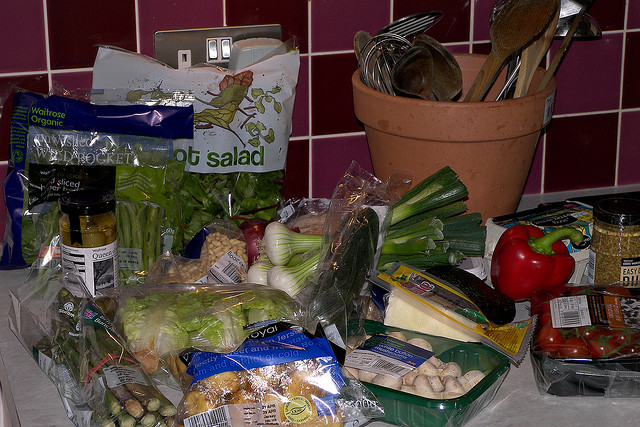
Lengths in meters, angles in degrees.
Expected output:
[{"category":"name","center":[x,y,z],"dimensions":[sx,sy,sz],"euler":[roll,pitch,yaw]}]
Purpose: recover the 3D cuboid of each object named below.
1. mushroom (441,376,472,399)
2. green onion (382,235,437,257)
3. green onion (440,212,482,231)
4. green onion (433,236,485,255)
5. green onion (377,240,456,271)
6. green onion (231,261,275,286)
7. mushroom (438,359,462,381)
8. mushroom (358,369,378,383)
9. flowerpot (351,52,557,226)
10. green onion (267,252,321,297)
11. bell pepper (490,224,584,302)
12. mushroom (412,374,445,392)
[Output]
[{"category":"mushroom","center":[0.234,0.296,0.868],"dimensions":[0.029,0.017,0.035],"euler":[-17,30,-29]},{"category":"green onion","center":[0.199,0.075,1.120],"dimensions":[0.108,0.050,0.035],"euler":[0,18,18]},{"category":"green onion","center":[0.319,0.019,1.134],"dimensions":[0.121,0.036,0.033],"euler":[-8,-14,-5]},{"category":"green onion","center":[0.314,0.065,1.160],"dimensions":[0.131,0.047,0.042],"euler":[1,20,-3]},{"category":"green onion","center":[0.203,0.077,1.109],"dimensions":[0.161,0.071,0.058],"euler":[0,-6,-18]},{"category":"green onion","center":[-0.133,0.125,1.052],"dimensions":[0.076,0.060,0.058],"euler":[1,-19,1]},{"category":"mushroom","center":[0.234,0.282,0.905],"dimensions":[0.030,0.015,0.024],"euler":[0,13,24]},{"category":"mushroom","center":[0.082,0.286,0.887],"dimensions":[0.020,0.021,0.021],"euler":[1,10,1]},{"category":"flowerpot","center":[0.309,-0.188,1.202],"dimensions":[0.379,0.313,0.395],"euler":[12,23,33]},{"category":"green onion","center":[-0.052,0.124,1.030],"dimensions":[0.107,0.078,0.048],"euler":[0,10,-6]},{"category":"bell pepper","center":[0.479,0.110,1.210],"dimensions":[0.158,0.179,0.203],"euler":[-5,21,-17]},{"category":"mushroom","center":[0.190,0.294,0.872],"dimensions":[0.056,0.023,0.037],"euler":[-2,11,-14]}]
